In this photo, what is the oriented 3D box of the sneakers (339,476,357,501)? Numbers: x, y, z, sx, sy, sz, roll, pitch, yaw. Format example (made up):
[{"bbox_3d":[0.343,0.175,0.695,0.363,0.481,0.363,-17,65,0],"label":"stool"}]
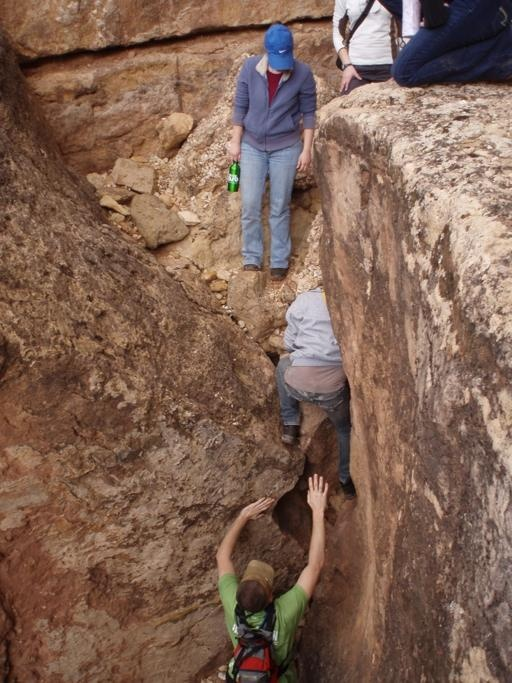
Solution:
[{"bbox_3d":[0.528,0.840,3.572,0.081,0.173,0.181,1,61,7],"label":"sneakers"}]

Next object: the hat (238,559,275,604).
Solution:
[{"bbox_3d":[0.016,1.042,2.775,0.130,0.169,0.177,7,-3,7],"label":"hat"}]

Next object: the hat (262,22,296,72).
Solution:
[{"bbox_3d":[0.114,-1.431,3.105,0.144,0.226,0.123,-7,5,-8],"label":"hat"}]

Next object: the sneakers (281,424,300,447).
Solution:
[{"bbox_3d":[0.187,0.502,3.371,0.054,0.109,0.154,7,15,10],"label":"sneakers"}]

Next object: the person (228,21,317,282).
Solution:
[{"bbox_3d":[0.108,-0.939,3.502,0.478,1.217,0.224,-6,27,-1],"label":"person"}]

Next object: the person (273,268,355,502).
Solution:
[{"bbox_3d":[0.328,0.325,3.242,0.373,1.345,0.517,-22,31,-30],"label":"person"}]
